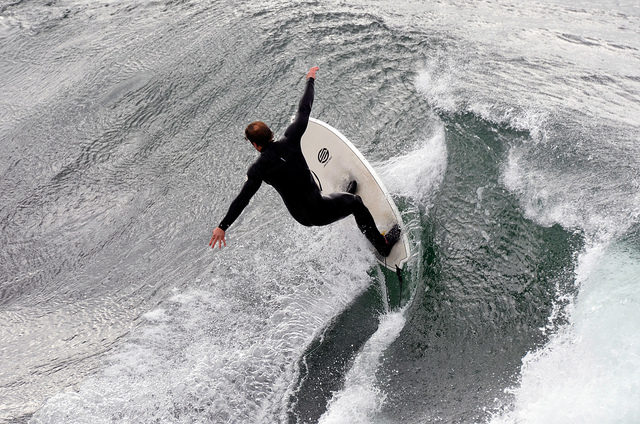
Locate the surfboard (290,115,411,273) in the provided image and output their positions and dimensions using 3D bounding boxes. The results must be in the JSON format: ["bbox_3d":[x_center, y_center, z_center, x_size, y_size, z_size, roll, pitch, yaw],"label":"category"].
[{"bbox_3d":[0.568,-0.739,12.762,1.392,0.663,4.416,-48,54,24],"label":"surfboard"}]
